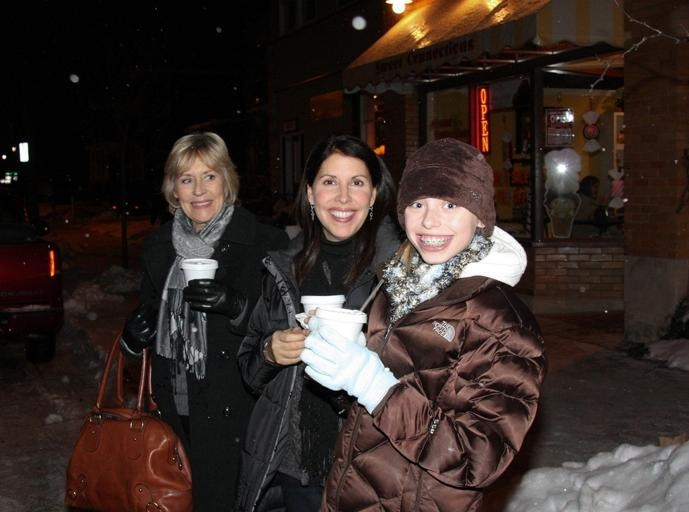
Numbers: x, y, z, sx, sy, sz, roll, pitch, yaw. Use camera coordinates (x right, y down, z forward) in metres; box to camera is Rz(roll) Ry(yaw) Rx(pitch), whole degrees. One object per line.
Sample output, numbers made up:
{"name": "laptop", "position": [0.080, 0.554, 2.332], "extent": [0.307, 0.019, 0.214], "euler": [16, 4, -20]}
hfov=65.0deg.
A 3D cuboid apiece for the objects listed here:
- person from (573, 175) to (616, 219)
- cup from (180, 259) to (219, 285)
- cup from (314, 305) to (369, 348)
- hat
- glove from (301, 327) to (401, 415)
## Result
{"name": "person", "position": [5.544, -1.323, 12.116], "extent": [1.031, 1.020, 0.398], "euler": [-6, 9, -31]}
{"name": "cup", "position": [-0.886, 0.090, 3.238], "extent": [0.161, 0.125, 0.165], "euler": [0, -2, 0]}
{"name": "cup", "position": [-0.019, 0.292, 2.309], "extent": [0.162, 0.126, 0.166], "euler": [10, -4, 1]}
{"name": "hat", "position": [0.459, -0.308, 2.381], "extent": [0.332, 0.367, 0.431], "euler": [-9, -19, 26]}
{"name": "glove", "position": [0.009, 0.418, 2.108], "extent": [0.404, 0.253, 0.118], "euler": [30, 9, 16]}
